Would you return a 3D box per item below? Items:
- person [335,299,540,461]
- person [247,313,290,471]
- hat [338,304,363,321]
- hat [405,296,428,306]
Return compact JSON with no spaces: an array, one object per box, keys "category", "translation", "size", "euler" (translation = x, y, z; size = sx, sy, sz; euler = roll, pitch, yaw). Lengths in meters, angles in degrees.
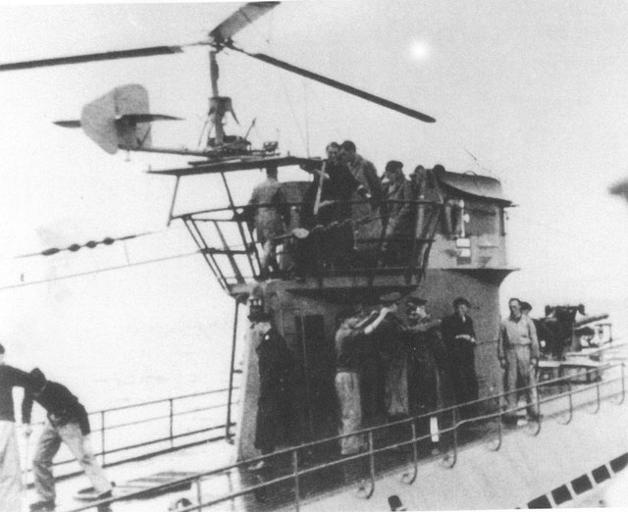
[{"category":"person","translation":[1.126,1.252,9.515],"size":[1.578,1.273,0.508],"euler":[3,-29,-7]},{"category":"person","translation":[-0.397,1.265,9.191],"size":[0.320,1.151,0.380],"euler":[0,-21,-17]},{"category":"hat","translation":[0.352,0.555,9.301],"size":[0.299,0.116,0.100],"euler":[-8,3,-19]},{"category":"hat","translation":[1.009,0.449,9.536],"size":[0.165,0.083,0.047],"euler":[13,-2,-23]}]
